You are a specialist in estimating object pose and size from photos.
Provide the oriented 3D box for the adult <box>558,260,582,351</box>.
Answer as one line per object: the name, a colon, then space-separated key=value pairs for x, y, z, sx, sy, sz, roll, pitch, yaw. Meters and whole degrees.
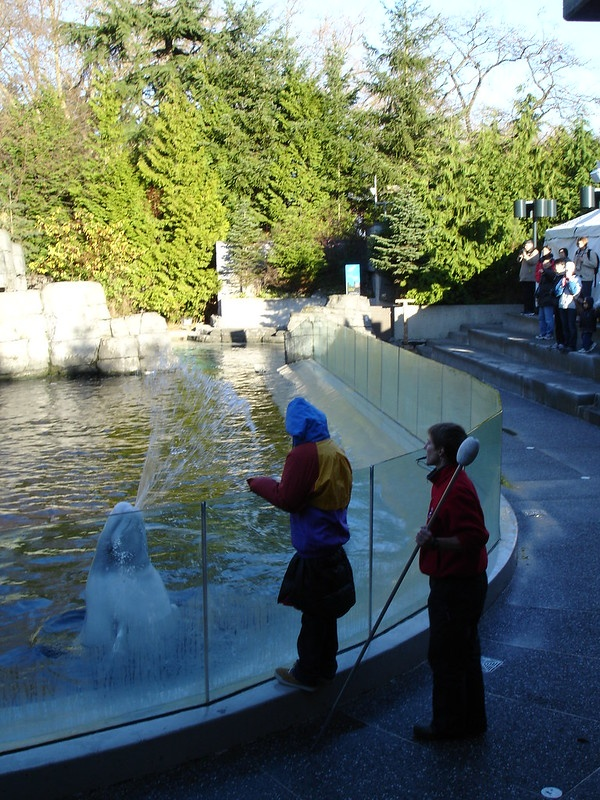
adult: x=5.556 y=-1.925 z=13.355 sx=0.448 sy=1.733 sz=0.542 roll=1 pitch=4 yaw=-26

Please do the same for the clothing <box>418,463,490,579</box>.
clothing: x=0.686 y=0.563 z=2.830 sx=0.287 sy=0.488 sz=0.215 roll=4 pitch=7 yaw=13

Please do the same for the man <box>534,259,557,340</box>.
man: x=6.029 y=-2.398 z=15.728 sx=0.508 sy=1.984 sz=1.830 roll=5 pitch=7 yaw=19

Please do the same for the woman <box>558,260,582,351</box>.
woman: x=5.553 y=-1.947 z=13.376 sx=0.473 sy=1.707 sz=0.510 roll=-6 pitch=12 yaw=-32

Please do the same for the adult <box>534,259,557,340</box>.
adult: x=6.035 y=-2.400 z=15.746 sx=0.508 sy=1.984 sz=1.867 roll=5 pitch=7 yaw=19

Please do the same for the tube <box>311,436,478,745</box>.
tube: x=0.448 y=0.978 z=3.160 sx=0.114 sy=1.498 sz=0.113 roll=30 pitch=7 yaw=21
